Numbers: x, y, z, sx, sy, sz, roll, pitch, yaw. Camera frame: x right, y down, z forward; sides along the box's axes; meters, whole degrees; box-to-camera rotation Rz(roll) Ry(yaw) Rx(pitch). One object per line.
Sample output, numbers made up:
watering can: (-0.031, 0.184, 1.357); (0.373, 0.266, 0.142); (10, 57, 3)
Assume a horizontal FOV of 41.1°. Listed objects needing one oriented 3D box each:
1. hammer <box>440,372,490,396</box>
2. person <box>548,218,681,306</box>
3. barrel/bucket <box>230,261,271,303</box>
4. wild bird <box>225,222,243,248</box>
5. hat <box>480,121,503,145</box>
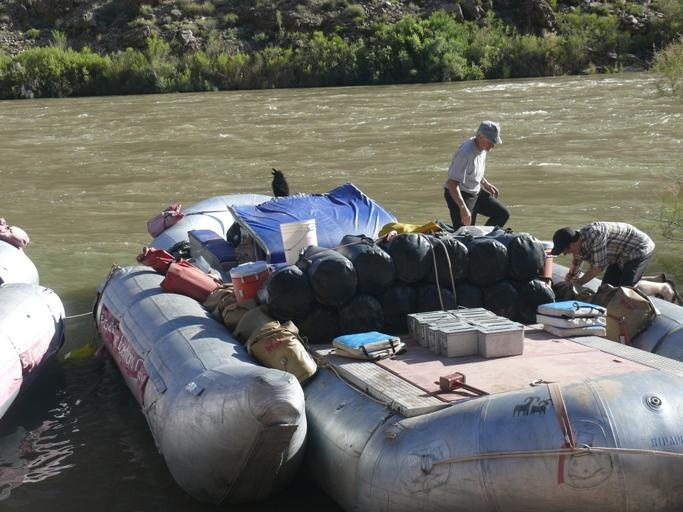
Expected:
hammer: (1.082, 1.136, 8.034); (0.458, 0.099, 0.164); (11, 18, 40)
person: (2.946, -0.029, 10.802); (2.060, 1.039, 0.727); (2, 3, -20)
barrel/bucket: (-0.953, 0.236, 9.717); (0.483, 0.355, 0.446); (-21, 3, 1)
wild bird: (-1.412, -0.301, 11.903); (0.294, 0.121, 0.322); (-6, 54, 7)
hat: (1.898, -1.585, 11.553); (0.270, 0.295, 0.249); (-1, 18, 3)
